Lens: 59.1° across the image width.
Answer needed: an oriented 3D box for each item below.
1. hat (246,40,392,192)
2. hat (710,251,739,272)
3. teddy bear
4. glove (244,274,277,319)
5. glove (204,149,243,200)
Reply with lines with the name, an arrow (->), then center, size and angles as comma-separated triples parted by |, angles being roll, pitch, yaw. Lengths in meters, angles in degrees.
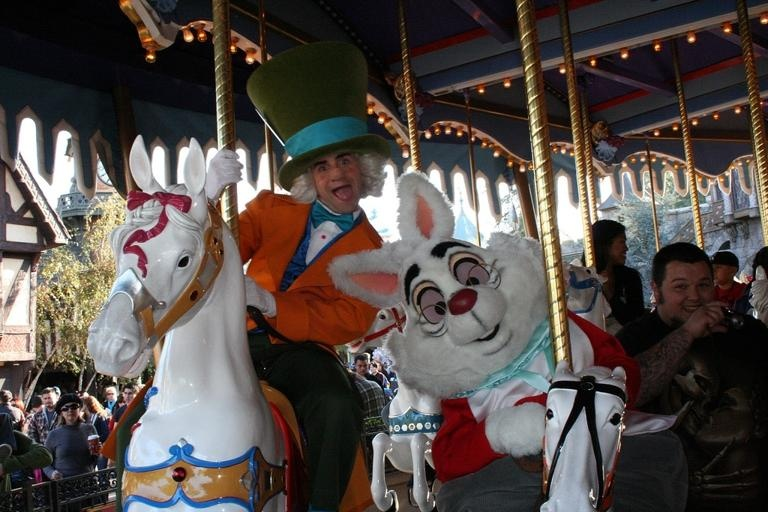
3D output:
hat -> -0.456, -0.958, 4.727 | 0.863, 0.701, 0.881 | -26, -1, -18
hat -> 3.949, 0.021, 7.771 | 0.311, 0.203, 0.326 | 13, -8, 17
teddy bear -> 0.337, 0.334, 3.491 | 1.002, 1.634, 0.365 | -5, -6, 14
glove -> -0.667, 0.223, 3.646 | 0.197, 0.187, 0.147 | 4, -5, -36
glove -> -0.790, -0.408, 3.408 | 0.175, 0.253, 0.075 | 13, -4, 27
